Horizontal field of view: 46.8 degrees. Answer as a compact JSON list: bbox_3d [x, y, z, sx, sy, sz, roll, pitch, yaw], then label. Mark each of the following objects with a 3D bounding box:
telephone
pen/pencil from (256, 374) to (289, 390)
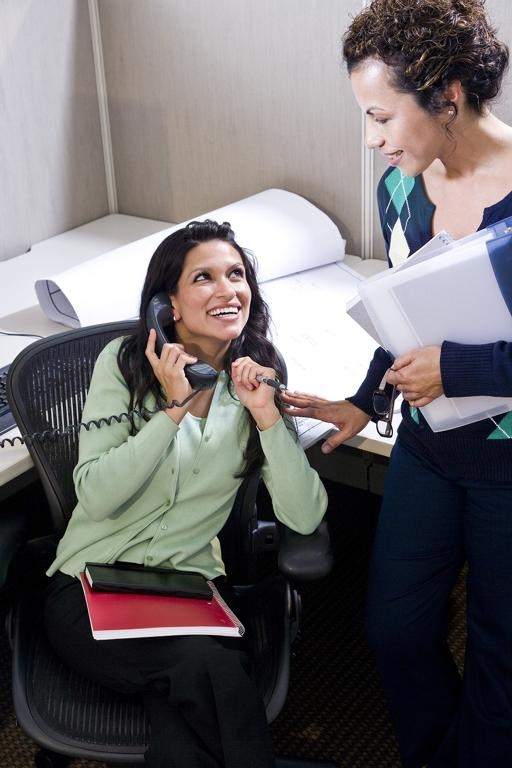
[{"bbox_3d":[-0.123,-0.074,1.004,0.123,0.173,0.043,16,-35,-35],"label":"telephone"},{"bbox_3d":[0.025,-0.003,1.040,0.043,0.017,0.011,29,-8,-21],"label":"pen/pencil"}]
